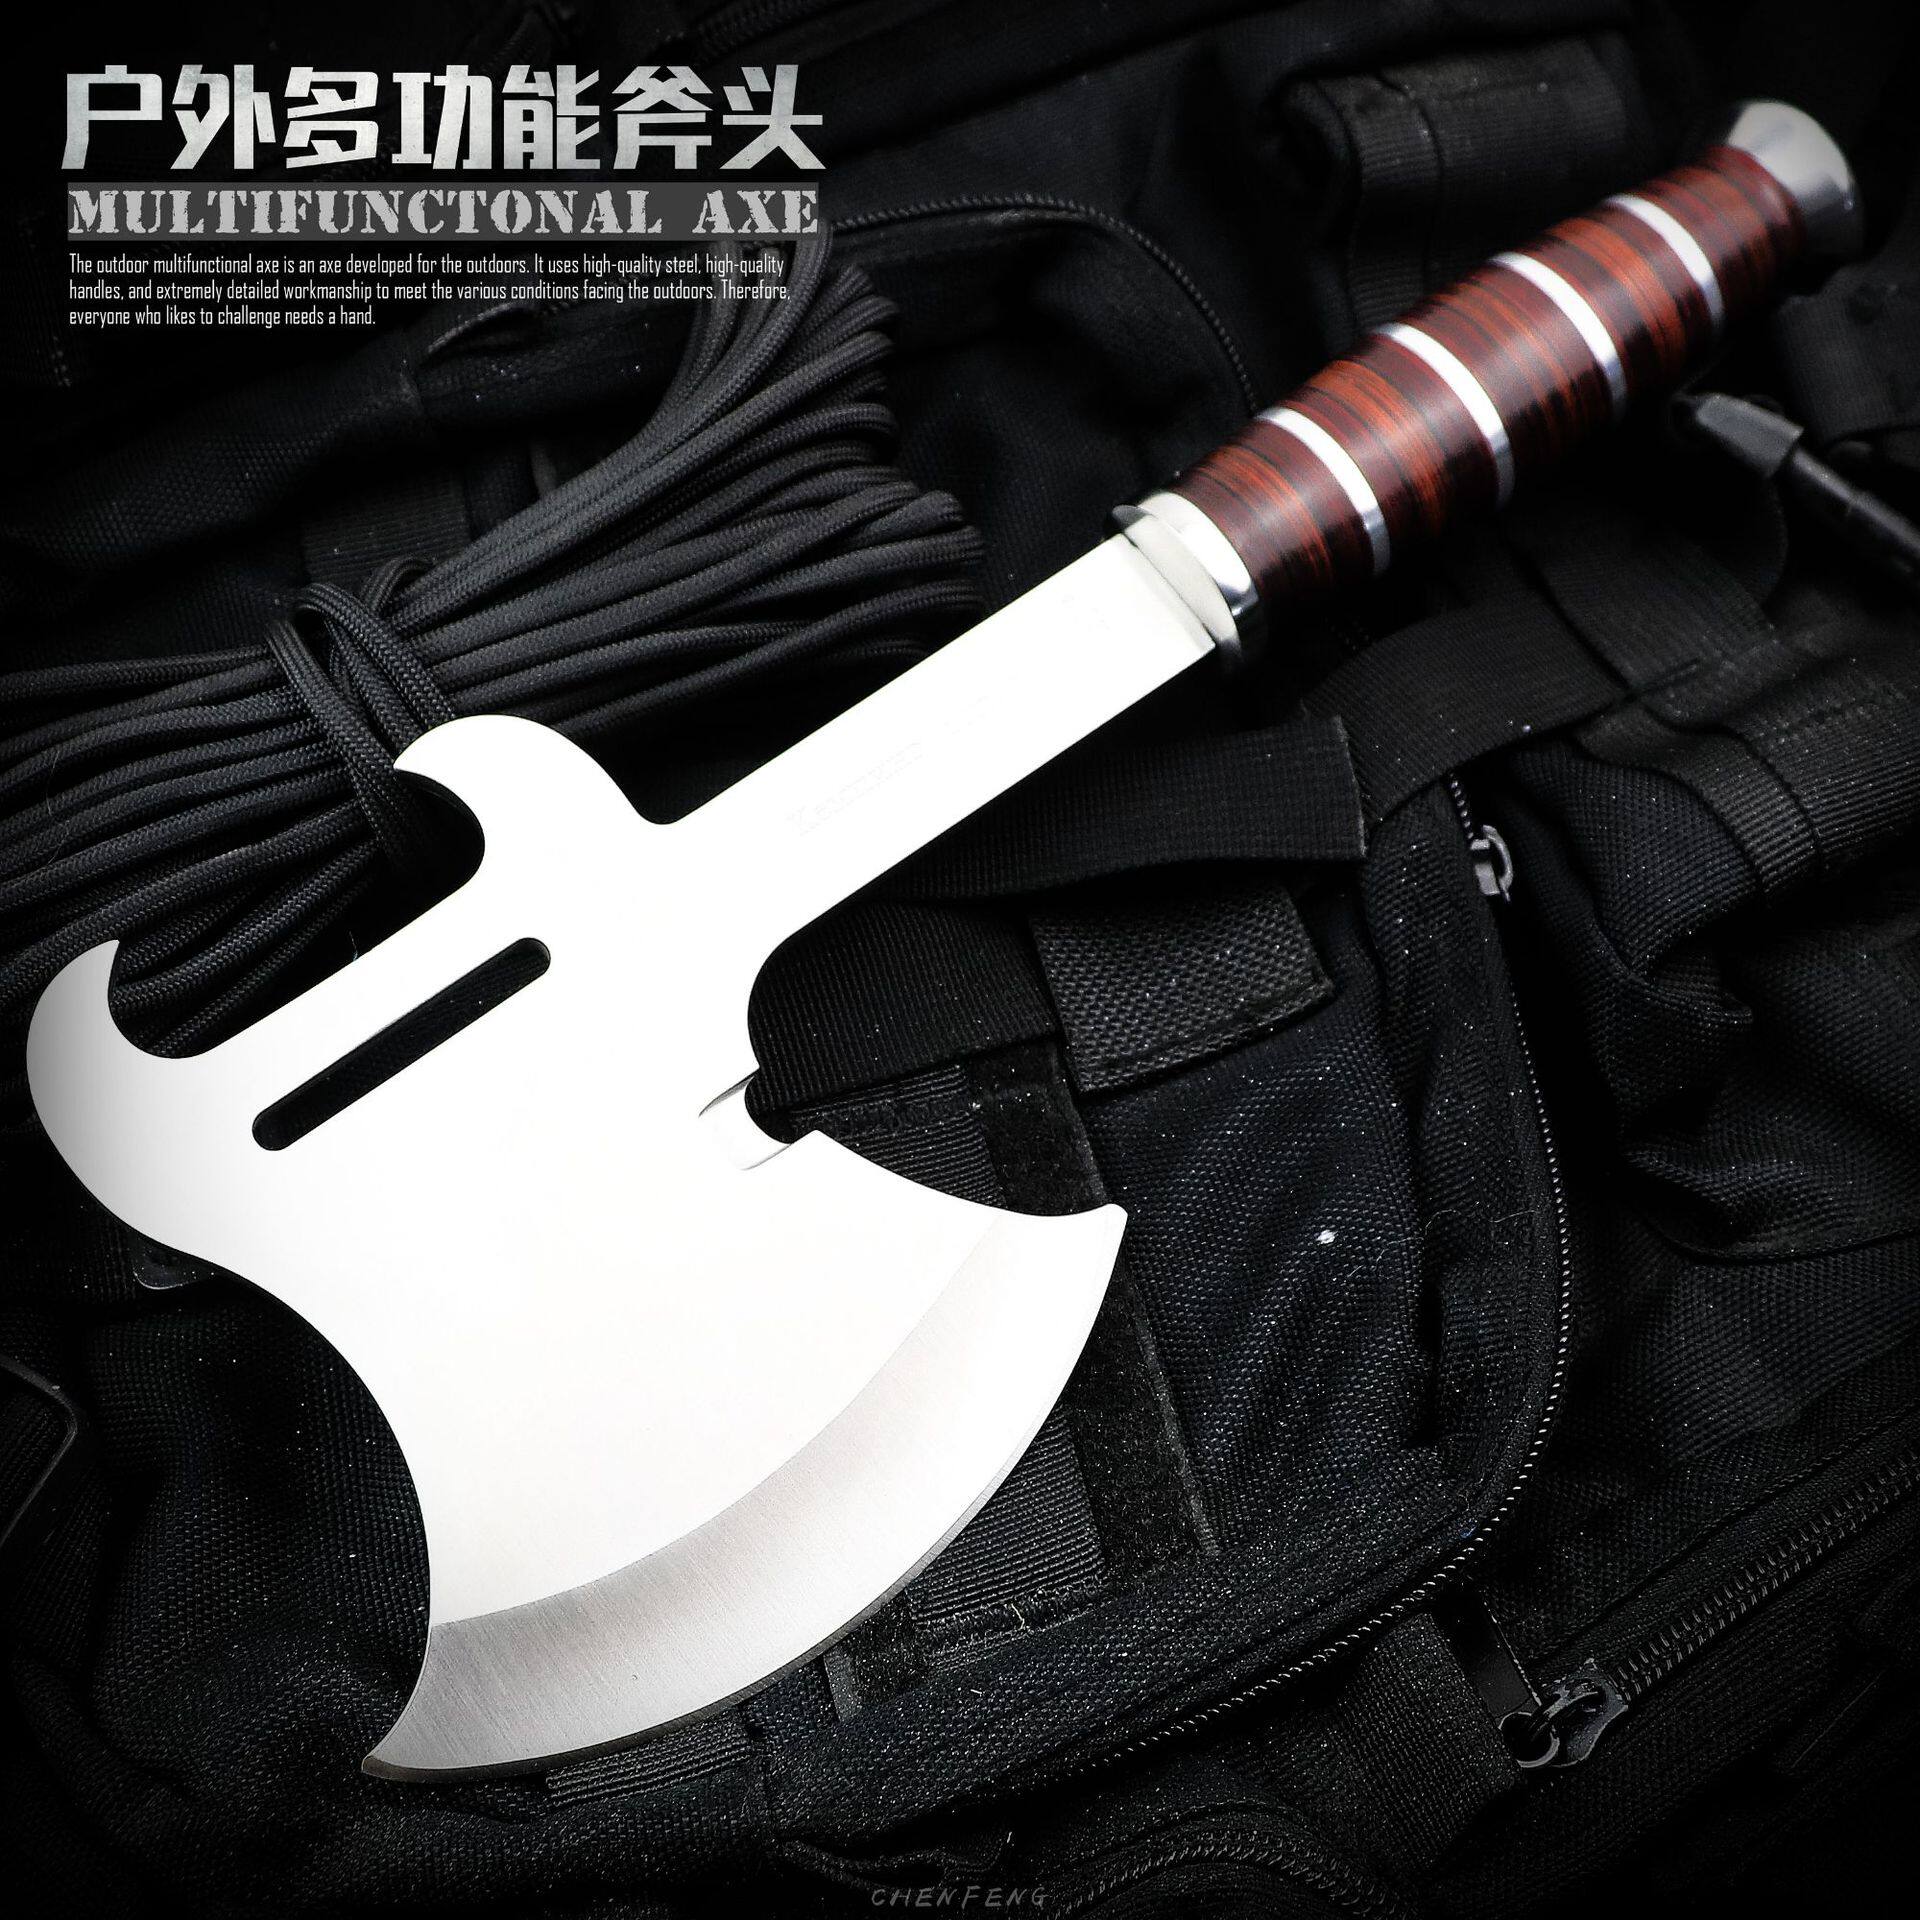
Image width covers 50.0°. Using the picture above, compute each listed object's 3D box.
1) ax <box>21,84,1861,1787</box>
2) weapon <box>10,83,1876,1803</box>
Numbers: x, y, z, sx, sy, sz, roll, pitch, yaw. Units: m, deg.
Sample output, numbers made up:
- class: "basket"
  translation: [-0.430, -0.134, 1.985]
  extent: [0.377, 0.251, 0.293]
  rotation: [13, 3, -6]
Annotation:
- class: "ax"
  translation: [0.055, -0.032, 0.993]
  extent: [0.827, 0.094, 0.428]
  rotation: [-37, 81, -16]
- class: "weapon"
  translation: [0.020, -0.025, 0.930]
  extent: [0.823, 0.087, 0.431]
  rotation: [-36, 82, -16]
